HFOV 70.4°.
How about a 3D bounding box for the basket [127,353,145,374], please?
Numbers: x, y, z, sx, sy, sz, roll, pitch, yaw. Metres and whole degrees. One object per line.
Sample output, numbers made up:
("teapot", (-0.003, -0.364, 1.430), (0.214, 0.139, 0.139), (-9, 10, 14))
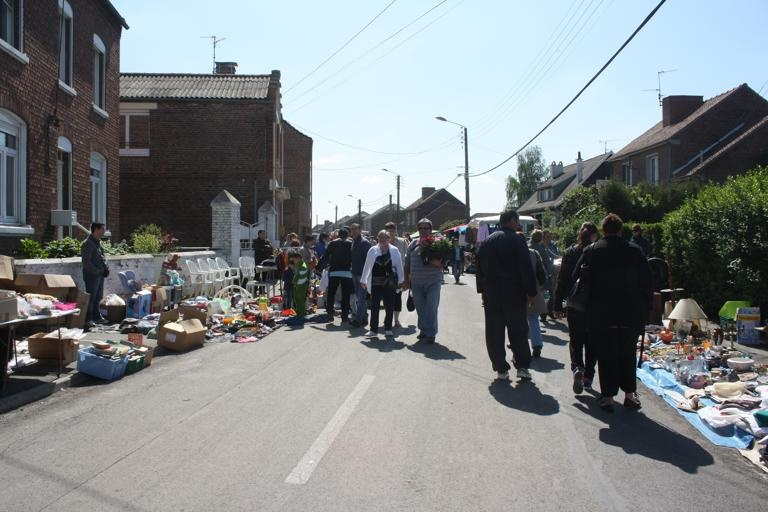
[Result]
("basket", (-4.272, 1.861, 9.436), (0.205, 0.283, 0.399), (0, 1, 10))

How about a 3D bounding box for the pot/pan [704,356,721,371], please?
("pot/pan", (5.648, 1.839, 9.349), (0.213, 0.147, 0.225), (-3, -8, -6))

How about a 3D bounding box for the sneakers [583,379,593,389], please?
("sneakers", (3.232, 2.030, 8.645), (0.207, 0.152, 0.073), (-5, 8, -40))

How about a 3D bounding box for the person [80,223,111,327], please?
("person", (-6.531, 0.408, 12.257), (0.483, 2.280, 1.069), (-1, 8, -6))

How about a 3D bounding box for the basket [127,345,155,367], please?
("basket", (-4.299, 1.788, 9.760), (0.293, 0.310, 0.308), (2, -3, -12))

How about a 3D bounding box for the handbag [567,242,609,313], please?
("handbag", (3.040, 0.390, 8.405), (0.510, 0.883, 0.868), (7, 3, 18))

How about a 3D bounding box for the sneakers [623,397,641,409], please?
("sneakers", (3.621, 2.120, 7.932), (0.224, 0.193, 0.166), (4, 8, 23))

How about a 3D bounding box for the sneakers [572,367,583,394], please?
("sneakers", (2.961, 1.896, 8.305), (0.153, 0.367, 0.157), (1, -3, 13))

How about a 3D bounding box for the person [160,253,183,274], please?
("person", (-5.823, 0.214, 14.981), (0.513, 0.791, 0.444), (-2, 10, -29))

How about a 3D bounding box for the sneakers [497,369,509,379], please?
("sneakers", (1.977, 1.955, 9.036), (0.151, 0.160, 0.098), (-5, -9, 15))

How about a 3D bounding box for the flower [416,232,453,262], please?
("flower", (1.087, -0.193, 11.390), (0.496, 0.512, 0.560), (0, 2, 0))

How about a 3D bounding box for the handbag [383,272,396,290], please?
("handbag", (0.134, 0.567, 12.233), (0.278, 0.381, 0.391), (-2, -6, -13))

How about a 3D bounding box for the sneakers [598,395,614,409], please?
("sneakers", (3.204, 2.118, 7.936), (0.095, 0.123, 0.296), (-2, -7, -12))

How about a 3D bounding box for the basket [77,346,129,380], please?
("basket", (-4.628, 1.767, 9.022), (0.471, 0.305, 0.661), (22, -3, 16))

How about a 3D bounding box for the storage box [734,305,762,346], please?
("storage box", (7.381, 1.405, 11.002), (0.512, 0.689, 0.302), (0, 8, 0))
